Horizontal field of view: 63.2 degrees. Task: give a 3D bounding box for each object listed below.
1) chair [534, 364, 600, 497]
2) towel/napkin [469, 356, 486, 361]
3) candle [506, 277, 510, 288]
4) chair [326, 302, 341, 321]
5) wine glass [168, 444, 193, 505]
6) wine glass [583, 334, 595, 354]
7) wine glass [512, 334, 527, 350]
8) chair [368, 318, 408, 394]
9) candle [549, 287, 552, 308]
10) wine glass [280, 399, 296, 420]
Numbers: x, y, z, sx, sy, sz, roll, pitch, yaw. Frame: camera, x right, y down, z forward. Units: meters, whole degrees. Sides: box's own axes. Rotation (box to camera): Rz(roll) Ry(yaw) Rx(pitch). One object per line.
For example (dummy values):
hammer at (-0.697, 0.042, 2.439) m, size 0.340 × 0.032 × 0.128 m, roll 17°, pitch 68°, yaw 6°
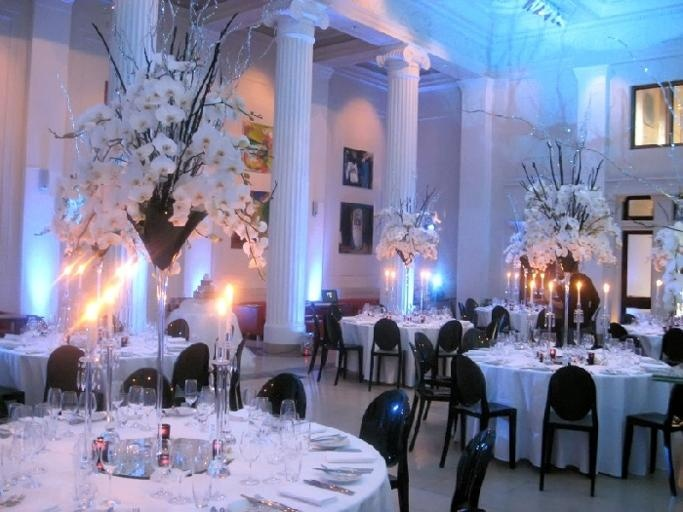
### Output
chair at (2.011, 1.484, 4.900) m, size 0.512 × 1.077 × 0.565 m, roll -1°, pitch -2°, yaw 20°
towel/napkin at (1.439, 1.068, 5.789) m, size 0.096 × 0.027 × 0.095 m, roll 2°, pitch -1°, yaw 43°
candle at (4.126, 0.639, 13.636) m, size 0.081 × 0.362 × 0.392 m, roll -1°, pitch -2°, yaw 19°
chair at (-0.166, 1.091, 11.010) m, size 0.226 × 0.492 × 0.246 m, roll -1°, pitch 7°, yaw 3°
wine glass at (-0.679, 0.882, 2.339) m, size 0.082 × 0.279 × 0.383 m, roll 0°, pitch -3°, yaw -18°
wine glass at (2.622, 0.941, 5.932) m, size 0.134 × 0.259 × 0.147 m, roll -1°, pitch -6°, yaw 22°
wine glass at (1.987, 0.956, 6.217) m, size 0.149 × 0.199 × 0.163 m, roll 0°, pitch -2°, yaw 0°
chair at (0.665, 1.424, 8.165) m, size 0.539 × 1.030 × 0.634 m, roll -1°, pitch -2°, yaw 7°
candle at (2.161, 0.419, 5.725) m, size 0.021 × 0.203 × 0.275 m, roll -1°, pitch -3°, yaw 19°
wine glass at (-0.259, 0.745, 2.686) m, size 0.063 × 0.098 × 0.094 m, roll 0°, pitch -8°, yaw 8°
